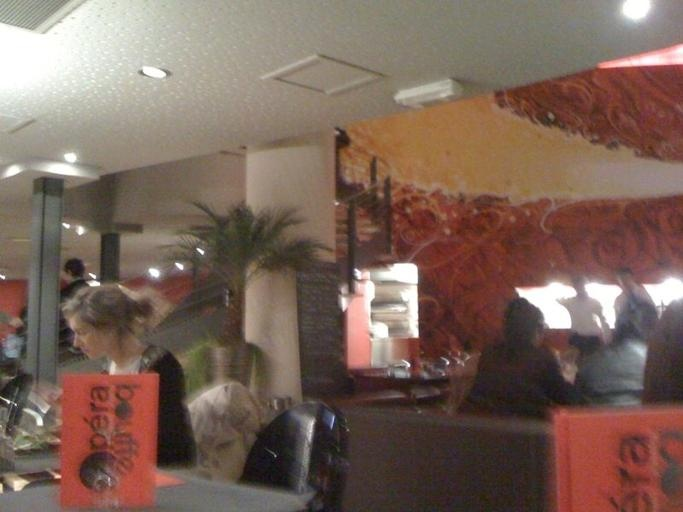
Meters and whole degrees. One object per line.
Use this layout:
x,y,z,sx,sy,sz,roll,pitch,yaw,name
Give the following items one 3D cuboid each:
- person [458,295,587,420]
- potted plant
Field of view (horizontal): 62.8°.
1.783,0.960,5.627,1.234,1.002,0.670,0,12,28,person
-0.712,0.250,3.952,1.277,1.298,1.334,3,5,31,potted plant
